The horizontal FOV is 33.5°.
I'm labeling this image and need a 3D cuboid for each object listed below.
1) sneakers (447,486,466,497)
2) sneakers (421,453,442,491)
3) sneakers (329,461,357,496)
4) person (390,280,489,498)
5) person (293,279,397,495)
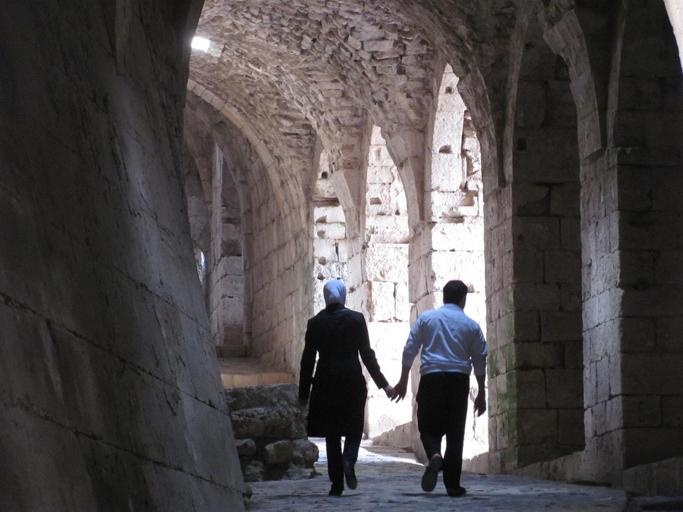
[{"bbox_3d":[0.669,1.363,6.613,0.119,0.056,0.043,-3,5,-32],"label":"sneakers"},{"bbox_3d":[0.518,1.248,6.566,0.084,0.257,0.096,12,25,4],"label":"sneakers"},{"bbox_3d":[0.004,1.354,6.853,0.089,0.294,0.117,8,-2,21],"label":"sneakers"},{"bbox_3d":[0.619,0.769,6.782,0.470,1.293,0.396,4,-10,-32],"label":"person"},{"bbox_3d":[0.011,0.785,6.957,0.542,1.326,0.291,-1,-8,-1],"label":"person"}]
